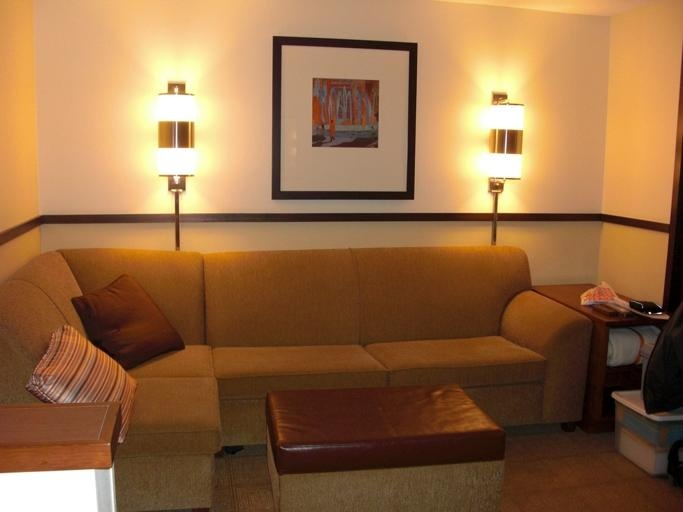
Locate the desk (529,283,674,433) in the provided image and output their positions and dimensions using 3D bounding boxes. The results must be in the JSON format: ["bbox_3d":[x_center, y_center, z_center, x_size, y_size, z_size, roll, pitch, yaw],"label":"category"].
[{"bbox_3d":[1.474,0.590,3.877,0.486,0.796,0.928,-2,17,-2],"label":"desk"}]

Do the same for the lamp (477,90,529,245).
[{"bbox_3d":[1.165,-0.615,4.293,0.305,1.083,0.349,2,12,2],"label":"lamp"}]

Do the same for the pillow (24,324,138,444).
[{"bbox_3d":[-1.108,0.529,2.596,0.361,0.423,0.359,-1,12,-13],"label":"pillow"}]

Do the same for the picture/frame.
[{"bbox_3d":[-0.024,-0.983,4.105,1.073,1.178,0.040,0,5,-12],"label":"picture/frame"}]

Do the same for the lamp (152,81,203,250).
[{"bbox_3d":[-1.057,-0.573,3.882,0.251,1.082,0.298,-2,12,-16],"label":"lamp"}]
